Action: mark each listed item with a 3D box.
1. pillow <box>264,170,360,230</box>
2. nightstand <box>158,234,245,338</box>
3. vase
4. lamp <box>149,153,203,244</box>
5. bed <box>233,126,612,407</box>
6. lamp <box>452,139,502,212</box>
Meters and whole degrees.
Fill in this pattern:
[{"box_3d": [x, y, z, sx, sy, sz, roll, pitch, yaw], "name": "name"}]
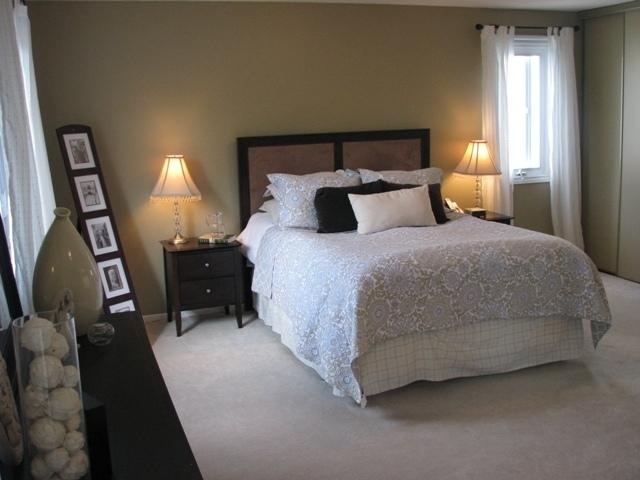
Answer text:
[{"box_3d": [-0.004, -0.457, 4.544, 0.535, 0.138, 0.562, -22, 5, 17], "name": "pillow"}, {"box_3d": [-0.984, 0.300, 4.751, 0.792, 1.106, 0.731, -4, 8, -21], "name": "nightstand"}, {"box_3d": [-1.132, 0.131, 2.295, 0.283, 0.540, 0.286, -9, 22, -36], "name": "vase"}, {"box_3d": [-1.268, -0.354, 4.524, 0.395, 0.762, 0.411, -4, 11, -23], "name": "lamp"}, {"box_3d": [0.646, -0.084, 4.503, 2.073, 1.852, 2.732, -6, 10, -20], "name": "bed"}, {"box_3d": [1.664, -0.699, 5.377, 0.418, 0.703, 0.442, -13, 21, -22], "name": "lamp"}]
